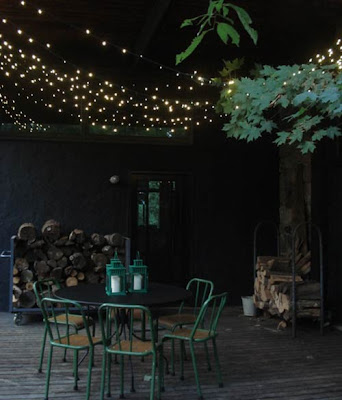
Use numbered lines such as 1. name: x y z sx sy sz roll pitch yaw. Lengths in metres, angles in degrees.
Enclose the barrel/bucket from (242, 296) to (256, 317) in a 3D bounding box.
1. barrel/bucket: 1.049 1.420 5.724 0.184 0.252 0.184 0 -3 0
